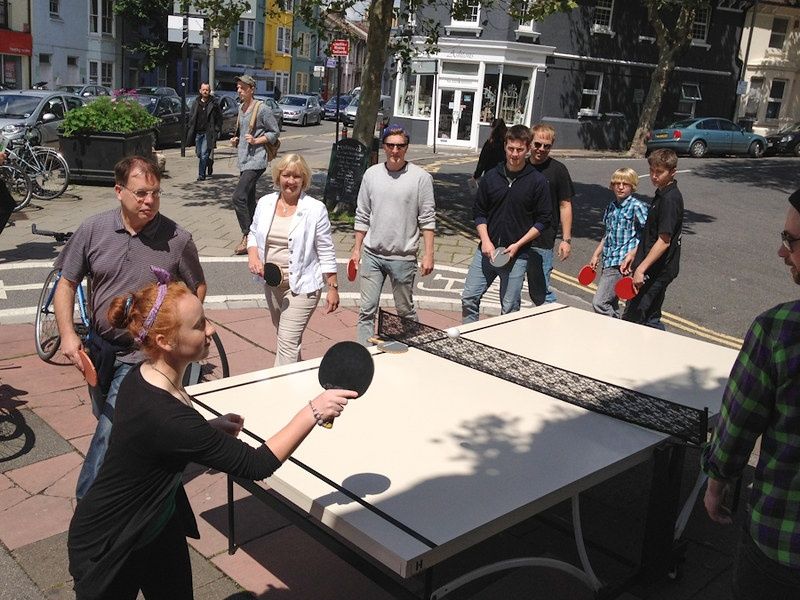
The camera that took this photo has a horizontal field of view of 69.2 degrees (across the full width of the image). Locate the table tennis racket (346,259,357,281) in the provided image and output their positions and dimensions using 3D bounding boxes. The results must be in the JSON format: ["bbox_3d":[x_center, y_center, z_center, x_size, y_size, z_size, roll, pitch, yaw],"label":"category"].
[{"bbox_3d":[-0.518,-0.312,5.922,0.054,0.215,0.150,-2,-21,23],"label":"table tennis racket"}]

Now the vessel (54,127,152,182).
[{"bbox_3d":[-7.574,-3.666,15.729,2.487,1.303,2.554,4,1,-13],"label":"vessel"}]

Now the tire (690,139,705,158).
[{"bbox_3d":[14.937,-7.697,29.133,0.777,0.813,0.278,-3,9,-41],"label":"tire"}]

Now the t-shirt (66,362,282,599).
[{"bbox_3d":[-0.897,0.746,2.232,0.792,0.898,0.299,6,16,8],"label":"t-shirt"}]

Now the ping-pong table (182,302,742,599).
[{"bbox_3d":[0.228,0.619,3.255,2.314,0.876,1.768,-13,19,-36],"label":"ping-pong table"}]

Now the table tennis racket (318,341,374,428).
[{"bbox_3d":[-0.227,0.317,2.412,0.235,0.323,0.076,21,33,-3],"label":"table tennis racket"}]

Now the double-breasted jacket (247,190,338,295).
[{"bbox_3d":[-0.984,-0.582,5.272,0.830,0.847,0.476,8,18,11],"label":"double-breasted jacket"}]

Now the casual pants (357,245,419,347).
[{"bbox_3d":[-0.060,-0.118,6.334,0.854,1.318,0.433,-8,34,-20],"label":"casual pants"}]

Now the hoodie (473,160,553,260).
[{"bbox_3d":[1.264,-0.968,6.332,0.962,1.125,0.564,8,9,27],"label":"hoodie"}]

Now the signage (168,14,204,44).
[{"bbox_3d":[-7.780,-9.995,21.187,1.142,1.071,2.227,-3,17,-20],"label":"signage"}]

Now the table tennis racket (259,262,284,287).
[{"bbox_3d":[-1.077,-0.219,4.941,0.176,0.184,0.042,19,22,30],"label":"table tennis racket"}]

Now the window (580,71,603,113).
[{"bbox_3d":[10.656,-11.724,32.561,1.126,2.181,0.219,9,5,11],"label":"window"}]

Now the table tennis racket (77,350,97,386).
[{"bbox_3d":[-1.774,0.379,3.308,0.040,0.198,0.196,-3,-15,-33],"label":"table tennis racket"}]

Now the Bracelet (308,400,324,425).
[{"bbox_3d":[-0.304,0.427,2.211,0.026,0.081,0.058,-28,-11,12],"label":"Bracelet"}]

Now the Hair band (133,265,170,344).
[{"bbox_3d":[-0.936,0.014,2.224,0.065,0.256,0.191,25,-5,-32],"label":"Hair band"}]

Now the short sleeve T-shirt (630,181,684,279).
[{"bbox_3d":[2.842,-0.701,6.352,0.448,0.917,0.707,0,4,10],"label":"short sleeve T-shirt"}]

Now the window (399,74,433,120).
[{"bbox_3d":[0.977,-11.120,31.413,2.322,2.566,0.130,17,19,42],"label":"window"}]
